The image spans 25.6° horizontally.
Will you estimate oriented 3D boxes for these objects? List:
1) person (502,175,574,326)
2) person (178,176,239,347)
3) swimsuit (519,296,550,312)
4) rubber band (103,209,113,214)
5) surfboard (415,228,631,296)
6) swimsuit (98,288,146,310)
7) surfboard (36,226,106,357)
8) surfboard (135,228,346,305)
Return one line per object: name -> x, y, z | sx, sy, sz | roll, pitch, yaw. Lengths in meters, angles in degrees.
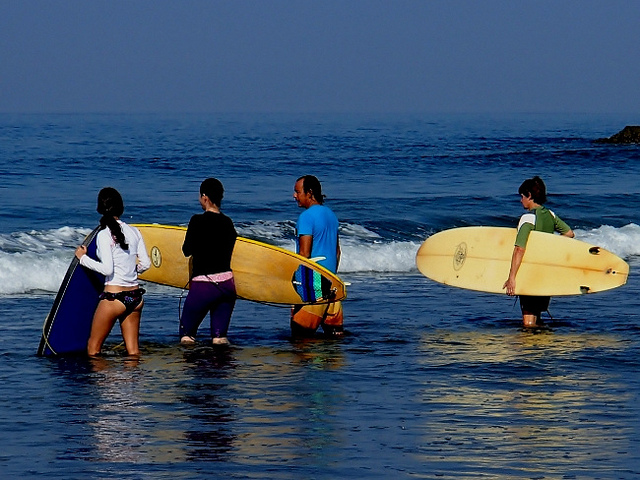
person -> 2.804, 0.169, 18.287 | 0.737, 1.902, 1.235 | 6, 0, 19
person -> -1.349, 0.283, 16.995 | 0.679, 2.048, 0.719 | 6, 0, -3
swimsuit -> 2.790, 0.831, 18.366 | 0.350, 0.173, 0.239 | 2, -4, 3
rubber band -> -2.499, -0.338, 16.426 | 0.106, 0.039, 0.012 | 1, -8, 5
surfboard -> 2.611, 0.305, 18.802 | 0.435, 0.881, 3.529 | 12, -5, -42
swimsuit -> -2.299, 0.676, 16.478 | 0.404, 0.143, 0.340 | 1, -6, -34
surfboard -> -3.063, 0.841, 17.129 | 0.717, 1.503, 0.319 | 6, 0, -7
surfboard -> -1.179, 0.365, 18.691 | 4.901, 0.781, 0.508 | 8, 20, 40
